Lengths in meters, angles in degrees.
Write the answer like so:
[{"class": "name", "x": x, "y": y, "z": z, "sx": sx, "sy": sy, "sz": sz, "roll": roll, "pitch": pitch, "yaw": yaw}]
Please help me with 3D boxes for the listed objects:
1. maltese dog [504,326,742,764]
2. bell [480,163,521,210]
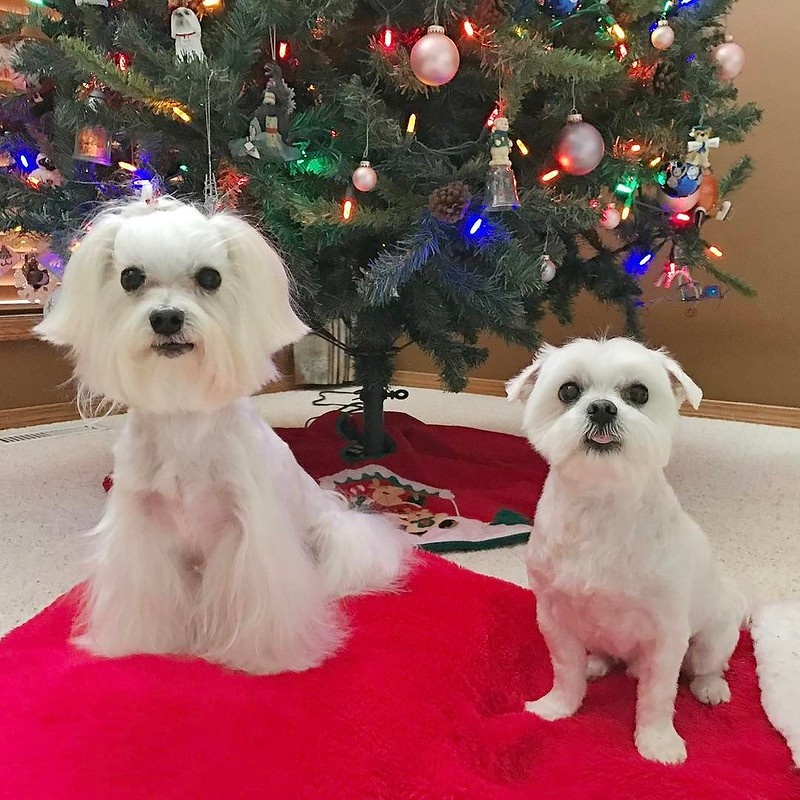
[{"class": "maltese dog", "x": 0.379, "y": 0.237, "z": 1.427, "sx": 0.404, "sy": 0.662, "sz": 0.270, "roll": 15, "pitch": 23, "yaw": 29}, {"class": "bell", "x": 0.244, "y": -0.491, "z": 1.962, "sx": 0.080, "sy": 0.104, "sz": 0.108, "roll": 5, "pitch": 17, "yaw": 5}]
